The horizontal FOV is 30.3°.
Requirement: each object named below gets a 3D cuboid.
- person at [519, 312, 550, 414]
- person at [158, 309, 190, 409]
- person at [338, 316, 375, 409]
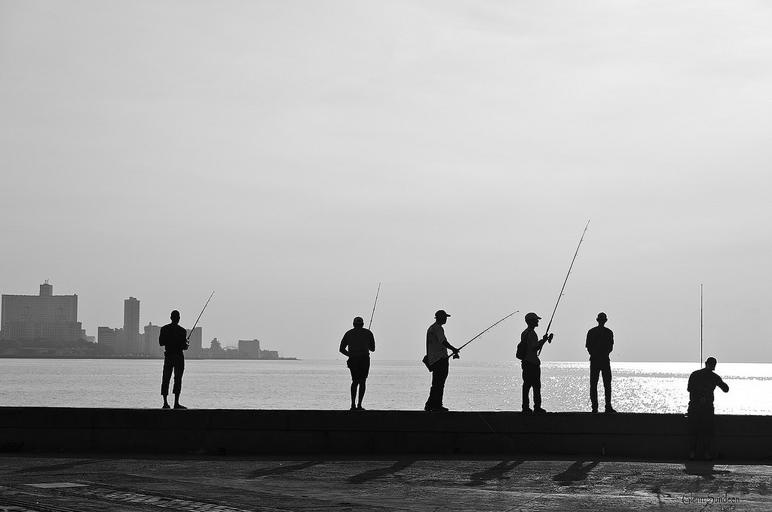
[{"bbox_3d":[2.713,1.958,25.974,0.799,1.803,0.719,0,-3,-15],"label":"person"},{"bbox_3d":[-3.839,1.868,25.978,0.657,1.716,0.591,9,-12,-36],"label":"person"},{"bbox_3d":[-0.408,2.002,26.454,0.626,1.778,0.704,-5,-8,6],"label":"person"}]
